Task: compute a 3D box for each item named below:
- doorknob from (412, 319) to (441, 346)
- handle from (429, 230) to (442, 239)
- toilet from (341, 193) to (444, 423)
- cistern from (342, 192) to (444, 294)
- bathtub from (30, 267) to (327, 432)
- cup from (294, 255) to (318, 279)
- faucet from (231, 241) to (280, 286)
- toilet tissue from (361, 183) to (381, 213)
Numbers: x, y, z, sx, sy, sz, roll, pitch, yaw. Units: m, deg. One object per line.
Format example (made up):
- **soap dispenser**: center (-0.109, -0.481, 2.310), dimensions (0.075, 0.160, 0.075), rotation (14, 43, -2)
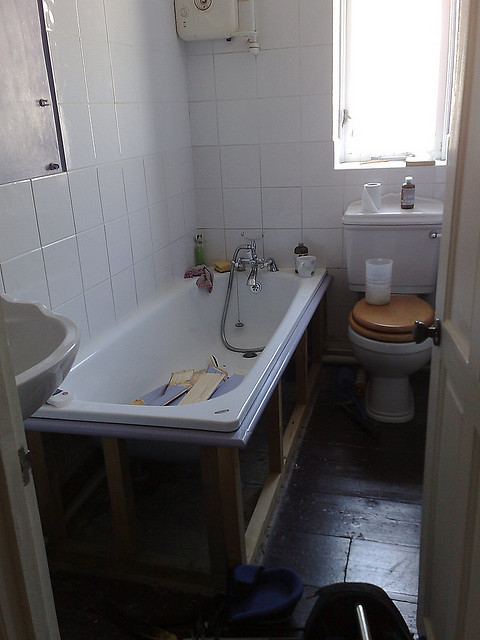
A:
- **doorknob**: center (0.389, 0.024, 0.992), dimensions (0.051, 0.068, 0.066), rotation (5, 27, 18)
- **handle**: center (0.915, -0.400, 2.243), dimensions (0.041, 0.027, 0.064), rotation (1, 20, 7)
- **toilet**: center (0.759, -0.062, 2.389), dimensions (0.449, 0.958, 0.843), rotation (3, 22, 20)
- **cistern**: center (0.747, -0.277, 2.609), dimensions (0.588, 0.645, 0.435), rotation (2, 28, 14)
- **bathtub**: center (-0.200, -0.141, 1.847), dimensions (0.494, 0.261, 1.228), rotation (4, 22, 12)
- **cup**: center (0.358, -0.285, 2.567), dimensions (0.106, 0.098, 0.119), rotation (-2, 26, 3)
- **faucet**: center (0.087, -0.303, 2.569), dimensions (0.188, 0.188, 0.284), rotation (-1, 19, 1)
- **toilet tissue**: center (0.624, -0.596, 2.364), dimensions (0.116, 0.150, 0.113), rotation (1, 25, 6)
